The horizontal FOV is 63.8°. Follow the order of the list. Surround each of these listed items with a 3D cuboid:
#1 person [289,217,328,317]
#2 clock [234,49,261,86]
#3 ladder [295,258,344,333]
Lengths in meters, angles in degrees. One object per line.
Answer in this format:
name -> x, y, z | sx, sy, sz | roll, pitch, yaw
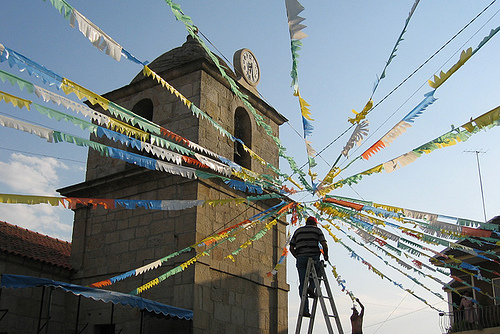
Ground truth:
person -> 1.568, 2.538, 10.640 | 0.967, 2.750, 0.554 | -1, -32, 4
clock -> 0.086, -4.085, 16.209 | 0.295, 1.692, 1.507 | -19, -55, -20
ladder -> 1.641, 3.095, 9.881 | 1.064, 1.986, 1.357 | -3, -32, 7
